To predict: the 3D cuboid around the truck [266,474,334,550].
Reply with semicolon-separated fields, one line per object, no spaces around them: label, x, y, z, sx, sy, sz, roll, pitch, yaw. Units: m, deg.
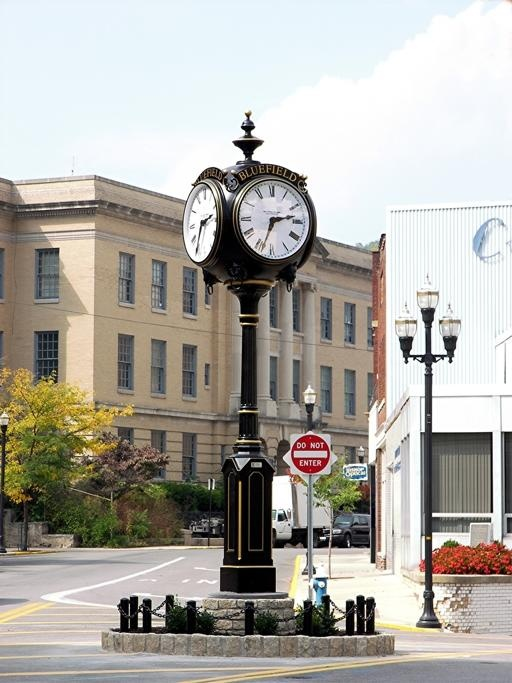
truck;1.366;6.092;64.243;2.060;3.174;5.348;-1;-14;7
